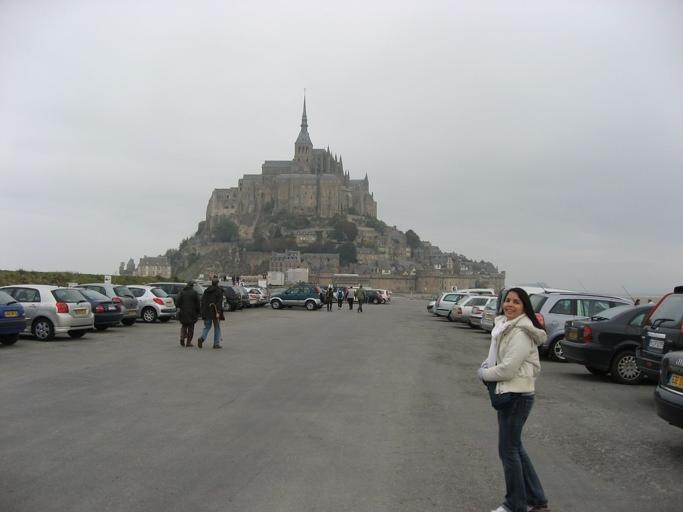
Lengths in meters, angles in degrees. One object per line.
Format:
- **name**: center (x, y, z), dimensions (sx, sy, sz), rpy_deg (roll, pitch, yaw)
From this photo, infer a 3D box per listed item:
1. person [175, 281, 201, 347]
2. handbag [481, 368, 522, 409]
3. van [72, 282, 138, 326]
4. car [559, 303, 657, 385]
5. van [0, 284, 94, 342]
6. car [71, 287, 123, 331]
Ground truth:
- **person**: center (-5.157, 2.052, 17.540), dimensions (0.770, 2.153, 1.204), rpy_deg (2, -2, -19)
- **handbag**: center (1.645, 1.492, 5.528), dimensions (0.253, 0.301, 0.101), rpy_deg (5, -5, 5)
- **van**: center (-10.788, 2.273, 23.623), dimensions (2.957, 1.721, 1.682), rpy_deg (2, -4, 10)
- **car**: center (6.413, 2.173, 12.897), dimensions (2.388, 1.195, 1.273), rpy_deg (-2, 1, -8)
- **van**: center (-10.256, 2.066, 18.176), dimensions (2.657, 1.423, 1.649), rpy_deg (6, 0, 19)
- **car**: center (-9.194, 2.191, 20.247), dimensions (2.157, 0.845, 1.047), rpy_deg (1, -2, 27)
